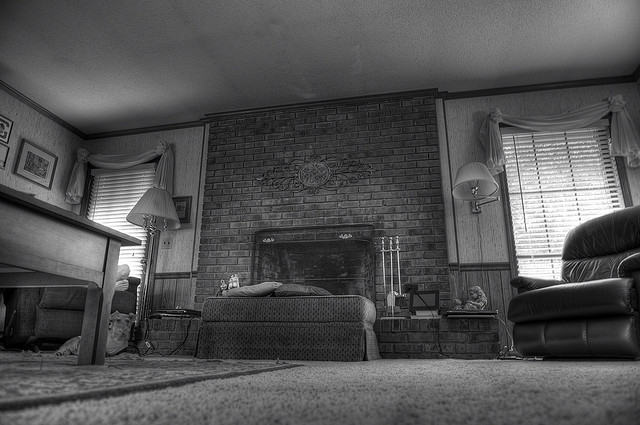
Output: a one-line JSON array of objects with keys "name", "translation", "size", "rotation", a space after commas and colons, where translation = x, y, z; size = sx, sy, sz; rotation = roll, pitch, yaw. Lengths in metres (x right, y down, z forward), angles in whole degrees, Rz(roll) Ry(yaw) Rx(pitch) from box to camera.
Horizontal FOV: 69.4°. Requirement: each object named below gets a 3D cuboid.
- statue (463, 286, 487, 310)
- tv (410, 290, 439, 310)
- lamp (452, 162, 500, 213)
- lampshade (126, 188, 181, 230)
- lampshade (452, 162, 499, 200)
[{"name": "statue", "translation": [1.498, 0.831, 4.489], "size": [0.159, 0.222, 0.327], "rotation": [-9, -17, 32]}, {"name": "tv", "translation": [1.020, 0.856, 4.486], "size": [0.217, 0.150, 0.021], "rotation": [-5, -35, 25]}, {"name": "lamp", "translation": [1.655, -0.241, 4.984], "size": [0.496, 0.527, 0.582], "rotation": [-2, -28, 12]}, {"name": "lampshade", "translation": [-1.947, -0.021, 5.443], "size": [0.515, 0.351, 0.536], "rotation": [2, -18, -7]}, {"name": "lampshade", "translation": [1.656, -0.366, 4.968], "size": [0.506, 0.372, 0.480], "rotation": [-7, 11, -22]}]
